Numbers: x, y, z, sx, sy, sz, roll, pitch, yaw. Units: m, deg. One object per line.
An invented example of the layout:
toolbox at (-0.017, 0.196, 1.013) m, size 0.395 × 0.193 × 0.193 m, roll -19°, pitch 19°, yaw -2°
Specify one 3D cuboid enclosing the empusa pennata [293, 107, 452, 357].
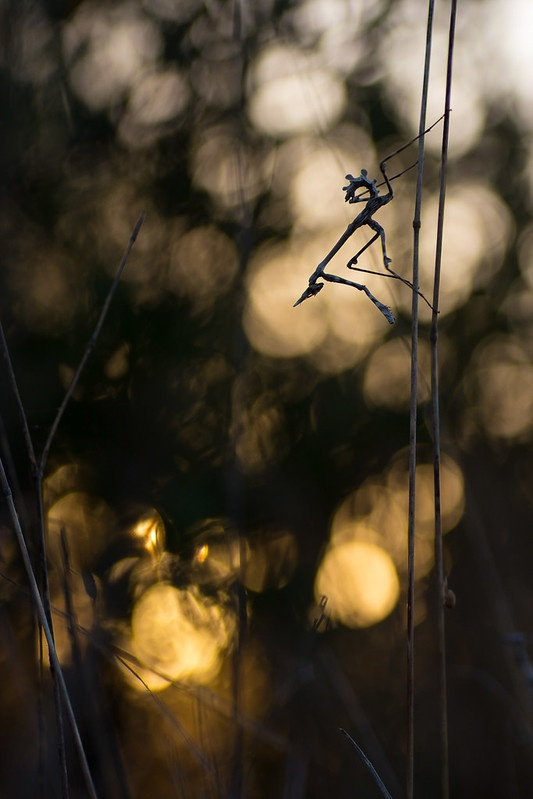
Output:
empusa pennata at (0.124, -0.208, 1.294) m, size 0.245 × 0.146 × 0.164 m, roll -20°, pitch -23°, yaw 24°
